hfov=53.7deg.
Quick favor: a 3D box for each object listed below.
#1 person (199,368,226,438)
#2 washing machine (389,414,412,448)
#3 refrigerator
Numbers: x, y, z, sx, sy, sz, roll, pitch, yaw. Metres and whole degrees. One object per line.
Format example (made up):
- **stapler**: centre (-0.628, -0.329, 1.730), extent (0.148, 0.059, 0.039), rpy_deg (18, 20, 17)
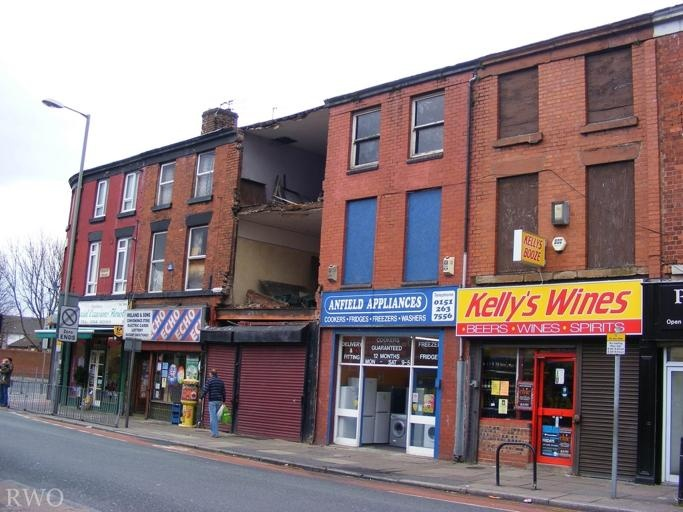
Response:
- **person**: centre (-4.361, 4.957, 22.925), extent (0.704, 2.171, 1.391), rpy_deg (4, -8, -10)
- **washing machine**: centre (1.991, 5.506, 21.371), extent (0.714, 0.998, 0.792), rpy_deg (8, -7, -36)
- **refrigerator**: centre (0.733, 4.959, 21.440), extent (1.950, 2.213, 1.150), rpy_deg (5, -13, -16)
